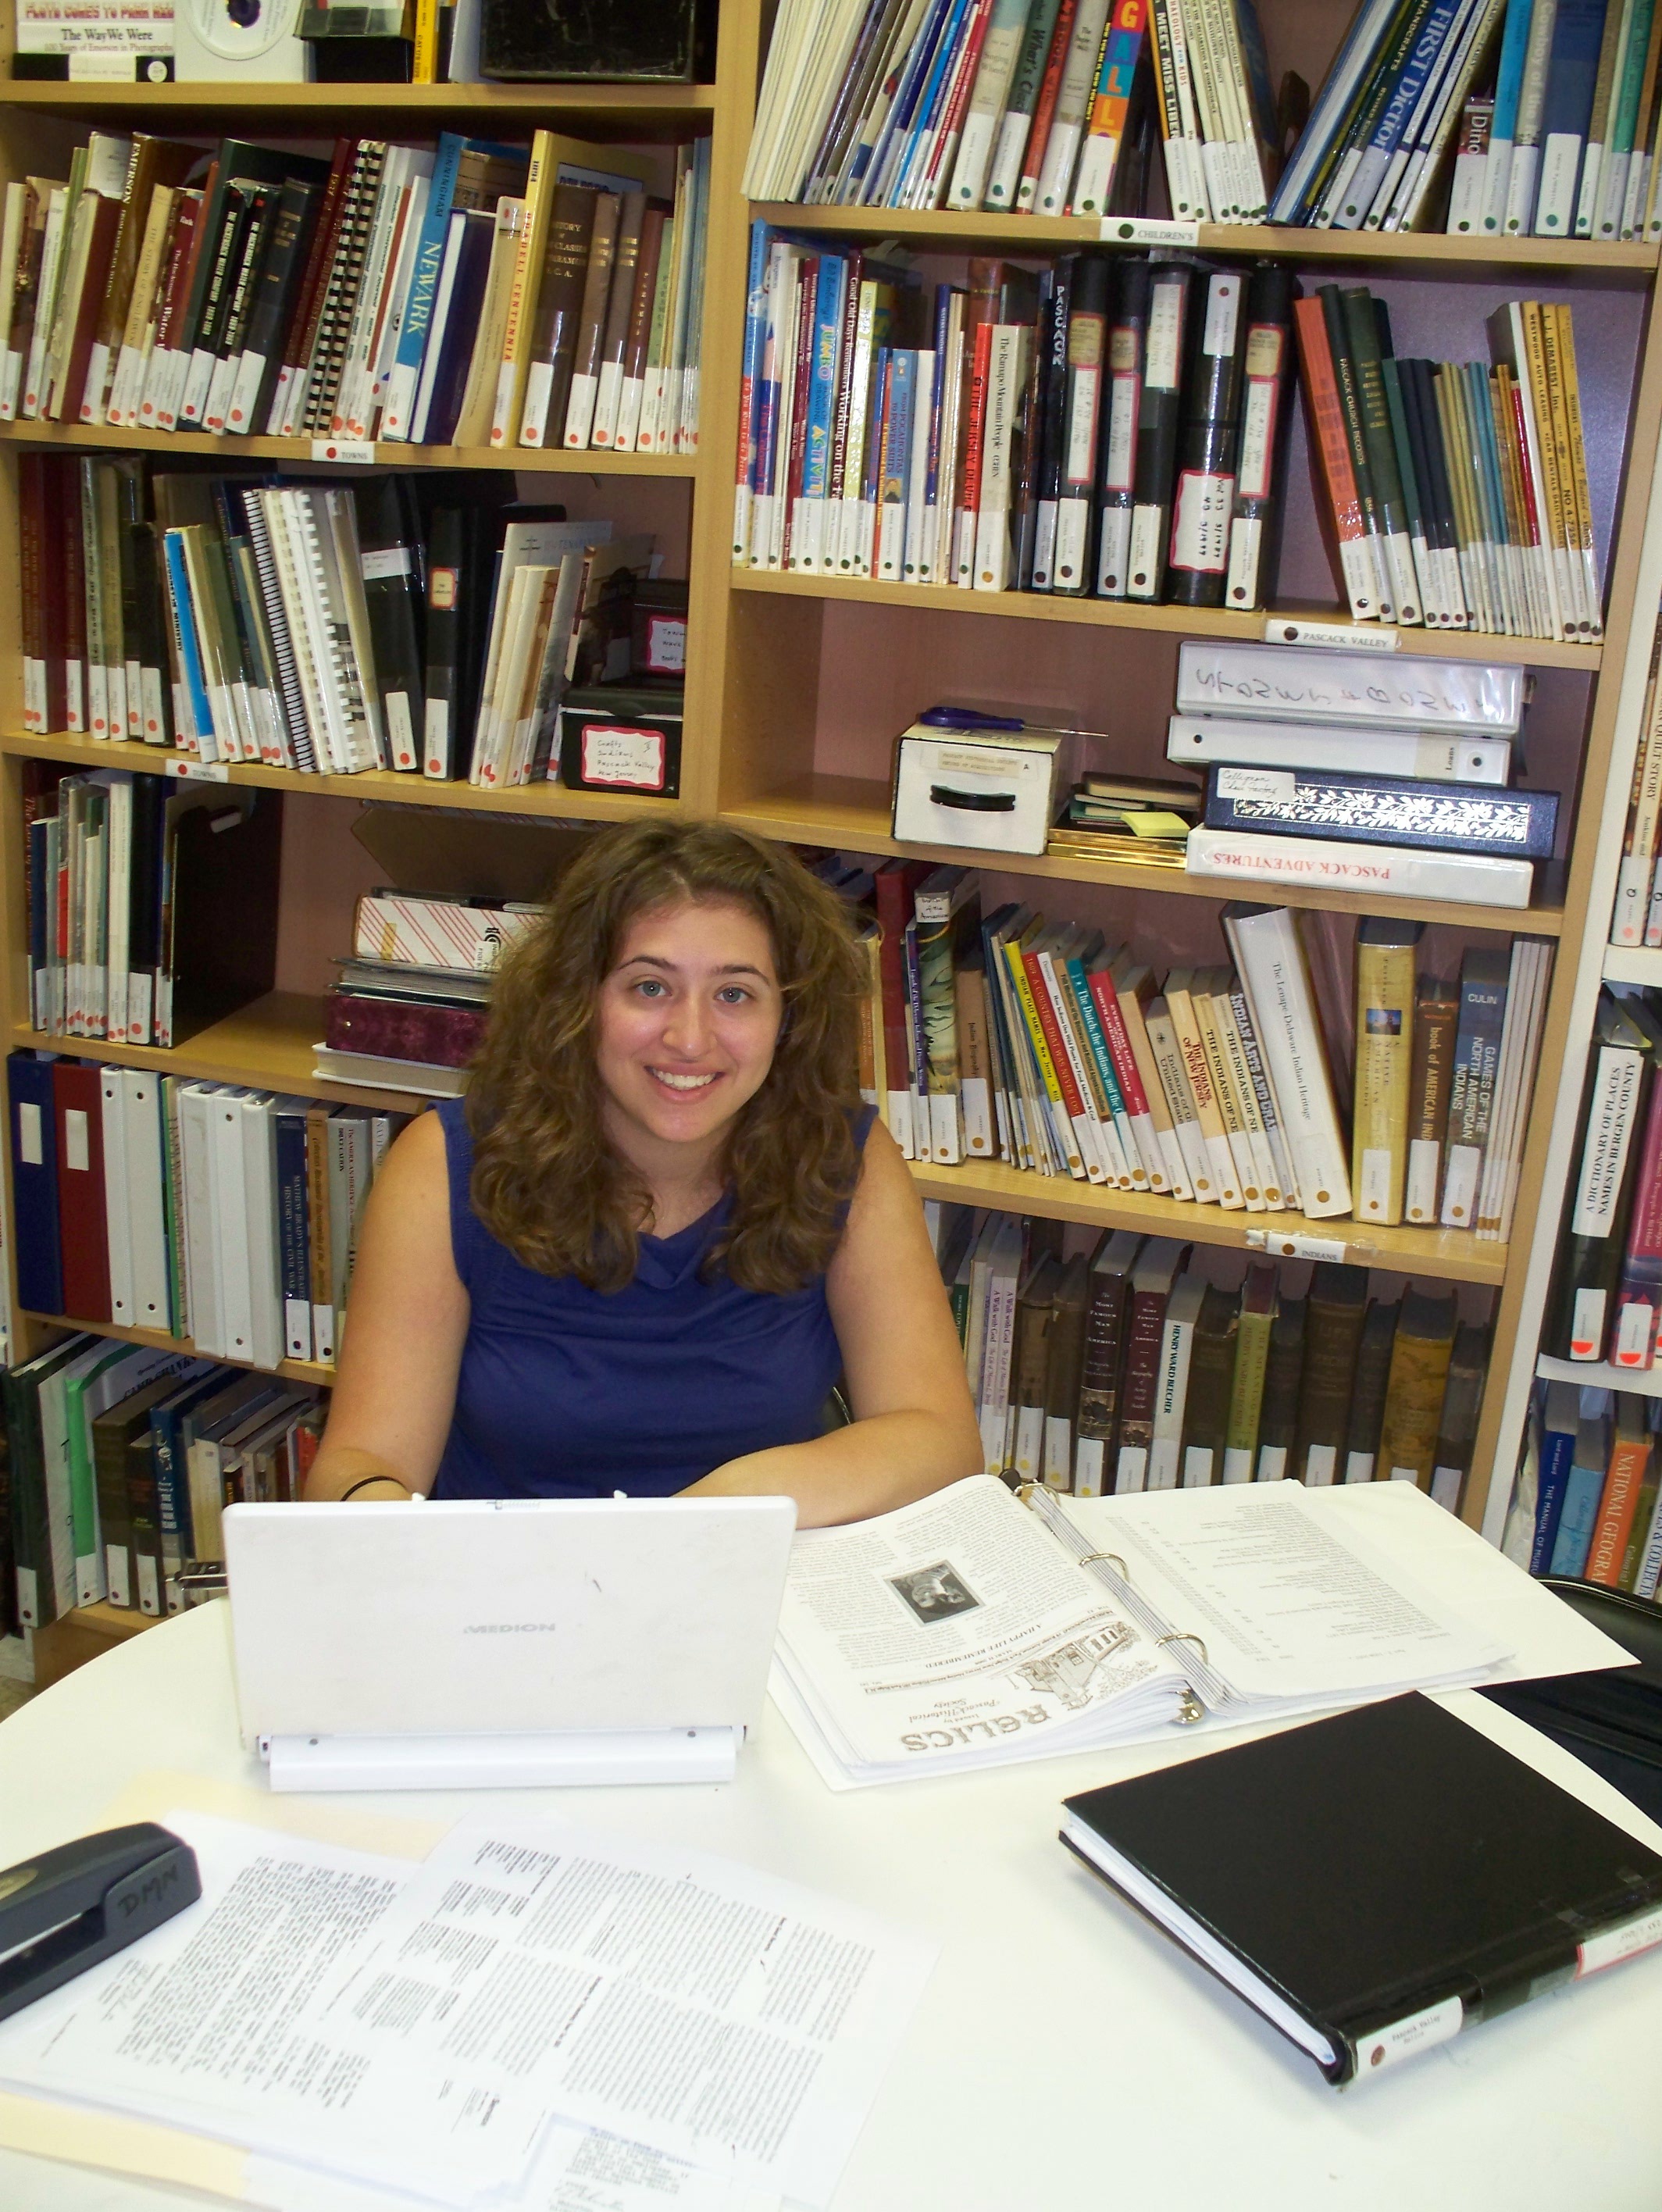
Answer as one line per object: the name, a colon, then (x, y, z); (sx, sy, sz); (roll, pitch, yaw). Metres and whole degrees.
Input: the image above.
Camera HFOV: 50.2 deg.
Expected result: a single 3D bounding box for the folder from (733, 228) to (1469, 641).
folder: (0.222, -0.821, 2.019); (0.726, 0.482, 0.398); (11, 12, 5)
